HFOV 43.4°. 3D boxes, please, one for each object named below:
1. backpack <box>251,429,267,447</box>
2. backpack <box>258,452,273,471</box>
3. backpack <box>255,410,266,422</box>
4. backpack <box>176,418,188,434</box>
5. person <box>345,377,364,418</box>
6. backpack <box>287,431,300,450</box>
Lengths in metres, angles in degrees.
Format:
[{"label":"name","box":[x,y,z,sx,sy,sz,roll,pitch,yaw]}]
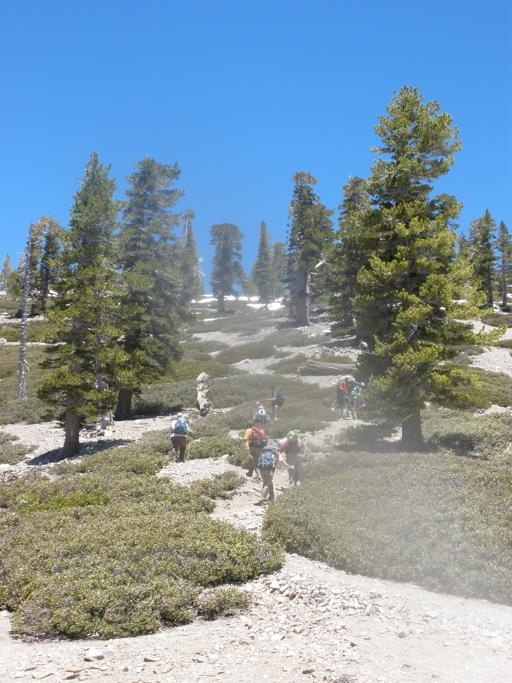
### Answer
[{"label":"backpack","box":[0.077,2.795,18.625,0.473,0.509,0.273,3,-30,-16]},{"label":"backpack","box":[0.300,3.109,16.761,0.337,0.434,0.434,0,-1,9]},{"label":"backpack","box":[0.163,2.438,20.488,0.325,0.371,0.519,1,13,-1]},{"label":"backpack","box":[-2.426,2.751,20.918,0.364,0.602,0.422,-1,14,-10]},{"label":"person","box":[4.248,2.394,27.806,0.656,1.480,2.017,3,13,8]},{"label":"backpack","box":[1.074,2.697,17.874,0.348,0.457,0.468,2,10,6]}]
